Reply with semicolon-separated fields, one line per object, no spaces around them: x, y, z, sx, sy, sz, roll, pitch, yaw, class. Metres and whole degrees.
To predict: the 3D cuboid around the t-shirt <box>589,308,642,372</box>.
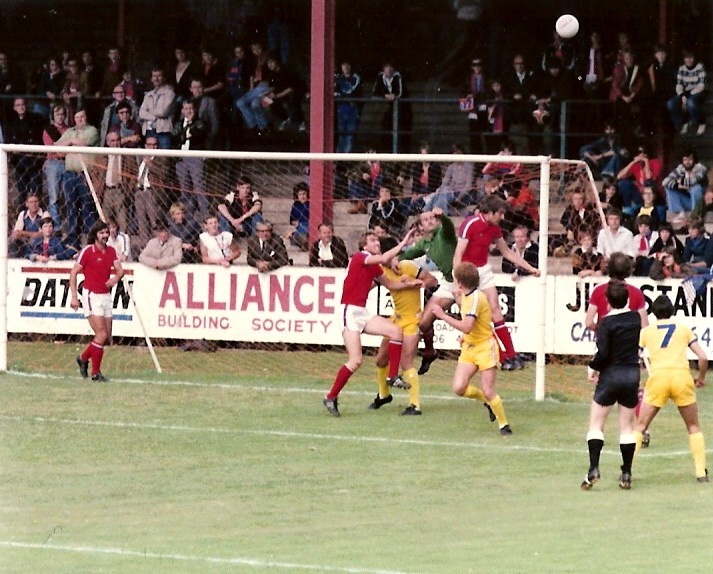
2.615;0.503;14.392;0.540;0.613;0.331;-5;11;-18;t-shirt

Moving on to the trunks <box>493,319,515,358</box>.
1.877;0.616;17.795;0.138;0.422;0.306;-11;-3;-36;trunks

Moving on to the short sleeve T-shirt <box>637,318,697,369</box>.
3.182;0.611;14.705;0.702;0.653;0.419;-2;-5;10;short sleeve T-shirt

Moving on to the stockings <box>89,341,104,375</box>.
-3.283;0.877;18.278;0.148;0.435;0.133;0;2;-12;stockings

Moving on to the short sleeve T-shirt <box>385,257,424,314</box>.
0.597;-0.045;17.178;0.494;0.677;0.344;-14;-13;25;short sleeve T-shirt

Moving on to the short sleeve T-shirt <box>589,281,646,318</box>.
2.841;0.245;15.578;0.594;0.664;0.351;0;11;7;short sleeve T-shirt

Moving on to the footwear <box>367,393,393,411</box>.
0.304;1.334;17.164;0.317;0.168;0.132;-22;26;4;footwear

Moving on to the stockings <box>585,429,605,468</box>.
2.374;1.574;14.236;0.140;0.369;0.167;0;2;-10;stockings

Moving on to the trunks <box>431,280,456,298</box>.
1.080;0.016;17.569;0.155;0.201;0.235;2;6;-43;trunks

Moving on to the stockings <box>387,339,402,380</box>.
0.466;0.830;16.822;0.157;0.468;0.297;1;2;1;stockings

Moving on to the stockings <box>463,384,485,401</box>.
1.324;1.151;15.993;0.247;0.195;0.390;1;3;5;stockings

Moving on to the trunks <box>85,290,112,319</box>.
-3.200;0.151;18.250;0.262;0.455;0.451;-1;1;28;trunks

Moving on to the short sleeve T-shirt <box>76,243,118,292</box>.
-3.265;-0.249;18.286;0.572;0.711;0.330;-1;2;-37;short sleeve T-shirt

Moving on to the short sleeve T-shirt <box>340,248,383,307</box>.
0.116;-0.109;16.594;0.505;0.626;0.320;-1;3;-37;short sleeve T-shirt

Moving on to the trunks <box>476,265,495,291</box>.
1.589;-0.132;17.340;0.153;0.314;0.437;2;3;22;trunks

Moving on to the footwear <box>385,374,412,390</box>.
0.507;1.098;16.992;0.315;0.201;0.122;1;-3;26;footwear

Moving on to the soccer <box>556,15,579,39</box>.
3.092;-3.704;20.696;0.417;0.481;0.277;0;11;2;soccer

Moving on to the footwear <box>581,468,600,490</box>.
2.307;1.873;14.264;0.101;0.155;0.312;15;-42;-5;footwear

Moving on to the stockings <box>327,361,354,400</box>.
-0.185;1.063;16.584;0.237;0.422;0.440;0;3;-12;stockings

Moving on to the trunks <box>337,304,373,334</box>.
0.002;0.358;16.608;0.253;0.348;0.437;10;1;29;trunks

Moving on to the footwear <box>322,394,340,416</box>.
-0.270;1.344;16.697;0.131;0.302;0.109;-36;-20;12;footwear
